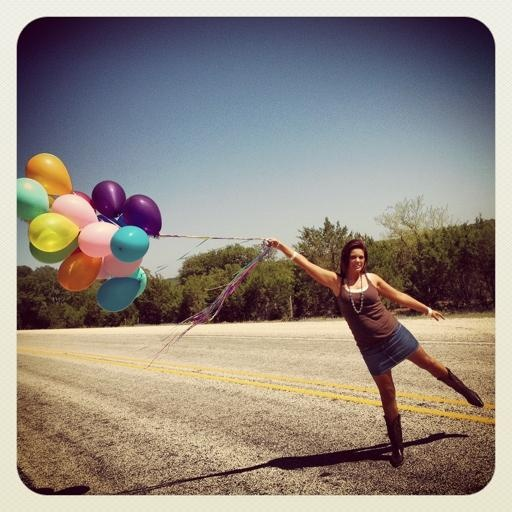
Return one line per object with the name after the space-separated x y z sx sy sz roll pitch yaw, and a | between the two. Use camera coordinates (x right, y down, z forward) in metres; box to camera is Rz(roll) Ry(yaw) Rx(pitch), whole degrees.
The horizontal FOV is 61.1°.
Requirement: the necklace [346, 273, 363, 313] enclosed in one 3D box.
0.972 0.455 4.249 0.146 0.306 0.064 -4 0 5 | necklace

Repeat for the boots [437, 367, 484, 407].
2.179 1.413 4.643 0.564 0.405 0.324 -1 -5 16 | boots

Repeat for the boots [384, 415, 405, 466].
1.326 1.771 4.167 0.149 0.485 0.234 -4 0 17 | boots
